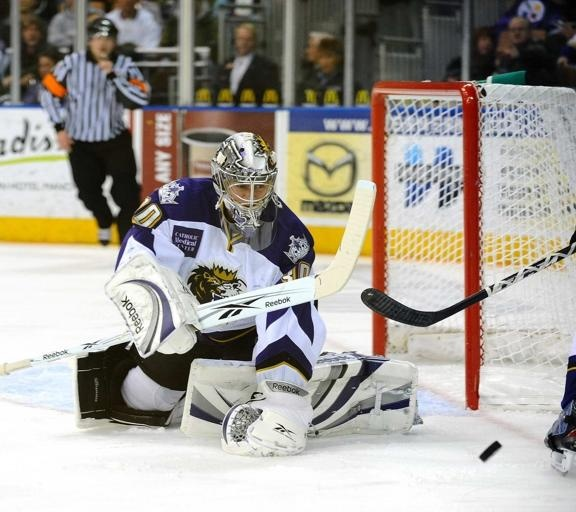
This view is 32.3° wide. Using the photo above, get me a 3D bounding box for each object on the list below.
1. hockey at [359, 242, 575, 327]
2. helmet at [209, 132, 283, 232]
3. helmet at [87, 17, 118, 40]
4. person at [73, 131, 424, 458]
[{"bbox_3d":[0.730,0.122,3.994,0.810,0.084,0.124,-21,47,-10],"label":"hockey"},{"bbox_3d":[-0.158,-0.256,3.257,0.255,0.258,0.303,3,49,-6],"label":"helmet"},{"bbox_3d":[-1.290,-1.576,6.911,0.177,0.149,0.302,-1,10,-13],"label":"helmet"},{"bbox_3d":[-0.230,0.136,3.435,1.360,1.033,1.021,3,11,-14],"label":"person"}]
